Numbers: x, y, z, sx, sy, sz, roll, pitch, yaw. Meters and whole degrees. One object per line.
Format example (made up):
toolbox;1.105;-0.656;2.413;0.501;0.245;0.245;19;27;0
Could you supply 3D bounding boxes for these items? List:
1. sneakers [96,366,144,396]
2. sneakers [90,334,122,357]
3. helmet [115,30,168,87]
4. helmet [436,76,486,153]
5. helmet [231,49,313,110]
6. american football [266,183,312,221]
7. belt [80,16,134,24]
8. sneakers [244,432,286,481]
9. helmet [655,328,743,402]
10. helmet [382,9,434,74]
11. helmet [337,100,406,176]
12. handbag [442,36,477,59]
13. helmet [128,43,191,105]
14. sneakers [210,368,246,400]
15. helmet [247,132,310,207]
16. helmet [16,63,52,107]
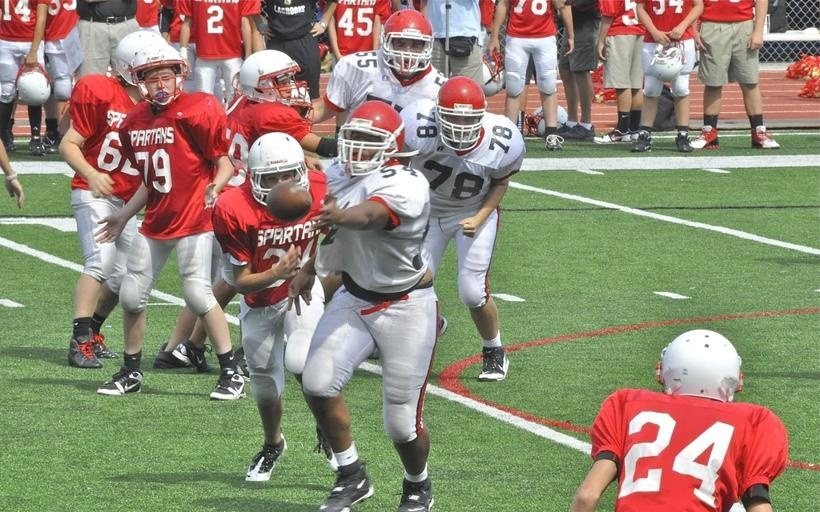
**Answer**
sneakers;-2.069;0.875;8.106;0.363;0.179;0.143;-7;30;-37
sneakers;-2.320;0.689;8.693;0.269;0.196;0.093;4;15;-9
helmet;-1.973;-1.483;8.374;0.367;0.410;0.476;-10;10;-32
helmet;0.355;-1.054;8.035;0.347;0.478;0.505;1;28;-6
helmet;-1.056;-1.407;8.686;0.604;0.369;0.451;5;20;12
american football;-0.666;-0.306;6.289;0.222;0.196;0.180;-7;-3;44
belt;-3.800;-2.955;14.018;0.590;0.079;0.086;-2;7;-14
sneakers;-0.901;1.232;7.080;0.133;0.390;0.160;17;-26;20
helmet;1.496;0.601;5.808;0.403;0.455;0.499;5;3;12
helmet;-0.032;-1.745;8.925;0.394;0.465;0.557;4;22;-14
helmet;-0.211;-0.733;6.757;0.352;0.419;0.475;16;17;34
handbag;0.627;-2.704;14.547;0.277;0.135;0.281;2;-32;-9
helmet;-1.818;-1.289;8.192;0.446;0.506;0.505;-6;-7;-18
sneakers;-1.302;0.936;8.080;0.154;0.215;0.460;0;2;16
helmet;-0.810;-0.471;6.884;0.304;0.351;0.420;-7;-14;-6
helmet;-4.648;-2.118;13.859;0.400;0.509;0.421;-1;7;-26
